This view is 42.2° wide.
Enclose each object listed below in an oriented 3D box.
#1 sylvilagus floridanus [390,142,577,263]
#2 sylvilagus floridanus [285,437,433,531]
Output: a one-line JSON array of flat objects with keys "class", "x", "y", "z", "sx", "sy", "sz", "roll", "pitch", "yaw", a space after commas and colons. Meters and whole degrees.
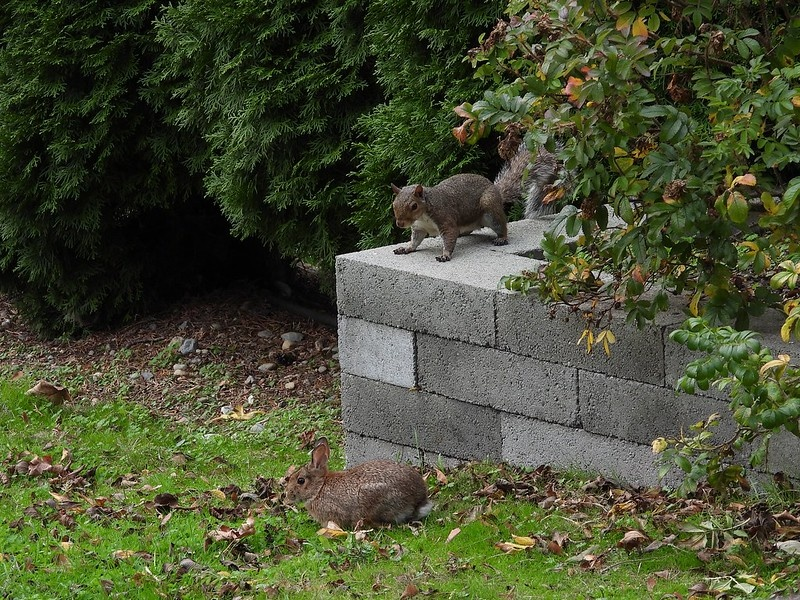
[{"class": "sylvilagus floridanus", "x": 0.733, "y": -0.711, "z": 7.500, "sx": 1.630, "sy": 0.962, "sz": 0.601, "roll": -20, "pitch": 21, "yaw": -33}, {"class": "sylvilagus floridanus", "x": -0.278, "y": 1.132, "z": 6.283, "sx": 0.757, "sy": 0.640, "sz": 0.429, "roll": -2, "pitch": -6, "yaw": 11}]
